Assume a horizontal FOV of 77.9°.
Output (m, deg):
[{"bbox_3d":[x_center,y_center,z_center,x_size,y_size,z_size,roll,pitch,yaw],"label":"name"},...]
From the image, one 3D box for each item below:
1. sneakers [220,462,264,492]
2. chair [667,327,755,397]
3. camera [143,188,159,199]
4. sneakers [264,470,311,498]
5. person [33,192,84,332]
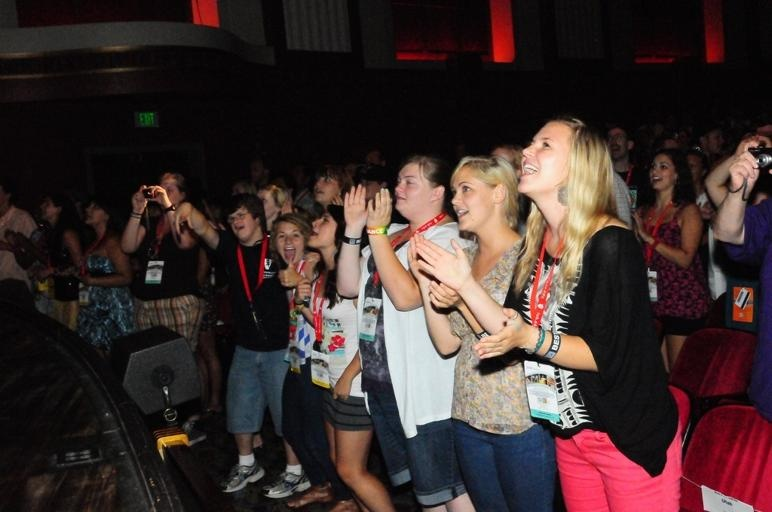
[{"bbox_3d":[-1.077,1.657,3.651,0.312,0.134,0.123,-7,5,-42],"label":"sneakers"},{"bbox_3d":[1.735,0.568,2.706,0.382,0.394,0.342,0,2,0],"label":"chair"},{"bbox_3d":[-2.036,-0.552,4.147,0.083,0.076,0.044,2,31,-3],"label":"camera"},{"bbox_3d":[-0.723,1.673,3.598,0.373,0.172,0.137,-2,6,-30],"label":"sneakers"},{"bbox_3d":[-3.469,0.029,5.093,0.427,1.468,1.599,-7,6,-34],"label":"person"}]
